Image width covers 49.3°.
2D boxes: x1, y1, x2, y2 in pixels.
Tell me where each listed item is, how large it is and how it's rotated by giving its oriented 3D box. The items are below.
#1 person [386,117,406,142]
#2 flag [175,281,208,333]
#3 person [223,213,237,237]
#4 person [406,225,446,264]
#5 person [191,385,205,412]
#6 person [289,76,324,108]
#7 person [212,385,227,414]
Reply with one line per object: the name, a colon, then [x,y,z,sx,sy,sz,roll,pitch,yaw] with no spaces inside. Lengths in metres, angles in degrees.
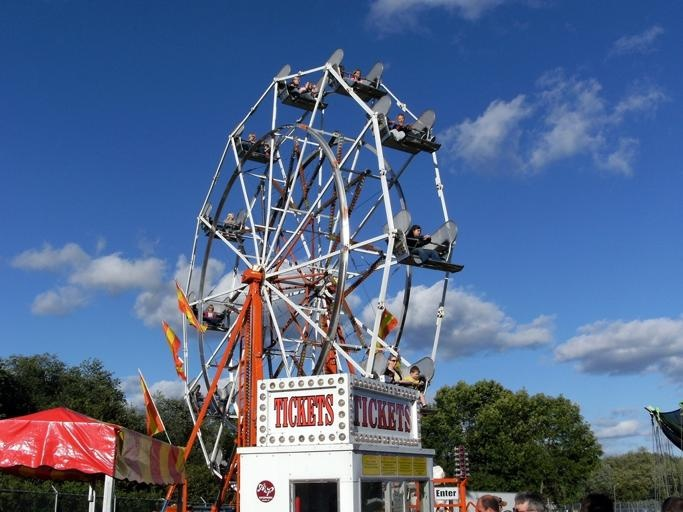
person: [2.385,-5.742,32.643,0.640,1.322,1.007,-9,-26,16]
flag: [-7.257,2.580,35.593,1.221,2.195,3.765,0,-26,-5]
person: [-5.584,-1.714,37.125,0.594,1.130,1.322,3,-26,-10]
person: [3.084,-0.292,28.036,1.315,1.694,1.032,-8,-14,30]
person: [-7.315,7.186,37.588,0.539,1.190,0.866,2,-25,-7]
person: [-1.901,-7.765,35.369,1.359,1.162,1.182,4,-26,-12]
person: [-5.896,6.897,35.933,0.589,1.384,2.596,3,-26,-10]
